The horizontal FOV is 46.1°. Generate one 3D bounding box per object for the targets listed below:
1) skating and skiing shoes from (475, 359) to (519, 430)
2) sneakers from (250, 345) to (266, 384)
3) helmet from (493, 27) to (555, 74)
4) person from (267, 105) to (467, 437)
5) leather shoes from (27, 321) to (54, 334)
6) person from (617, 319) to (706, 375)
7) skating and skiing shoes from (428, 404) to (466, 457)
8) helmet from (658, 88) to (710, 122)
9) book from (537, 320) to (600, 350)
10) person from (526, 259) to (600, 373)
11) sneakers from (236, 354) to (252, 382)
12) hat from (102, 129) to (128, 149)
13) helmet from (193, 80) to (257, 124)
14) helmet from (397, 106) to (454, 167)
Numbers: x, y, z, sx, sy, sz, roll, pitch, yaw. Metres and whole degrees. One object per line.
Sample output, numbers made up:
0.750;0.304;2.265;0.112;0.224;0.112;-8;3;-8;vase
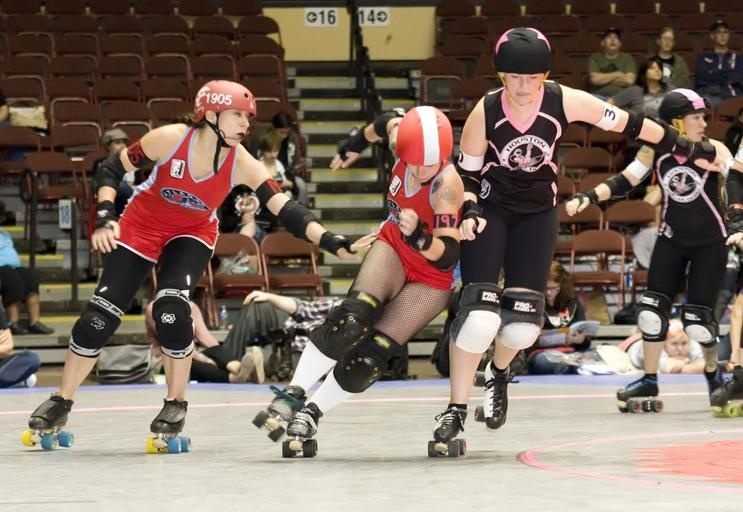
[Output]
0.817;0.858;5.623;0.276;0.251;0.514;9;39;3;skating and skiing shoes
-1.117;1.083;8.847;0.137;0.380;0.152;-4;-2;-25;sneakers
0.899;-1.182;5.232;0.315;0.191;0.304;-3;20;-2;helmet
0.062;0.091;5.212;0.899;2.001;0.863;4;2;27;person
-3.786;0.812;10.048;0.264;0.109;0.142;1;0;7;leather shoes
3.181;1.008;9.480;1.088;0.471;0.815;-5;2;33;person
0.462;1.024;5.164;0.178;0.285;0.475;-1;-7;19;skating and skiing shoes
2.434;-1.140;6.821;0.293;0.295;0.371;-13;18;-37;helmet
2.117;0.847;9.286;0.482;0.227;0.357;-23;6;-13;book
2.035;0.665;9.363;0.812;1.116;0.846;-8;3;-43;person
-1.257;1.123;8.827;0.134;0.348;0.151;12;11;-5;sneakers
-3.104;-1.418;10.729;0.219;0.225;0.277;-4;4;-43;hat
-0.900;-0.953;5.514;0.401;0.286;0.322;12;11;35;helmet
0.330;-0.702;5.244;0.367;0.370;0.471;-3;-1;-8;helmet
